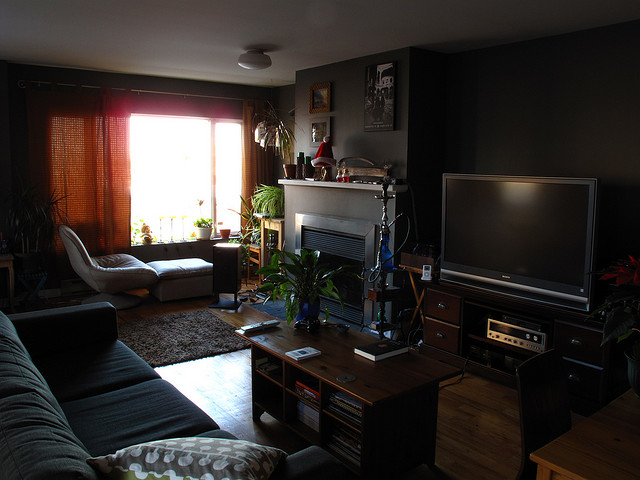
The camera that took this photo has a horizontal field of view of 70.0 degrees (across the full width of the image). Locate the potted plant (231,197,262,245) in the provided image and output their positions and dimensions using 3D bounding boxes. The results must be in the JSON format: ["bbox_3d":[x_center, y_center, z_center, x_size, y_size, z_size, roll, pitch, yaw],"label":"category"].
[{"bbox_3d":[-1.087,-0.261,6.899,0.327,0.639,1.088,-3,12,-18],"label":"potted plant"}]

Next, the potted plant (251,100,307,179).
[{"bbox_3d":[-0.472,-1.178,5.766,0.528,0.845,0.622,-10,13,4],"label":"potted plant"}]

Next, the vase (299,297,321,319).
[{"bbox_3d":[-0.076,0.510,3.398,0.134,0.114,0.153,1,-1,-7],"label":"vase"}]

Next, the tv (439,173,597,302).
[{"bbox_3d":[1.608,-0.037,3.837,0.134,1.003,1.334,-7,11,-37],"label":"tv"}]

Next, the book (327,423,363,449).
[{"bbox_3d":[0.146,1.156,2.700,0.028,0.060,0.264,-10,15,-41],"label":"book"}]

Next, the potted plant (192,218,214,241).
[{"bbox_3d":[-1.769,-0.168,7.036,0.314,0.311,0.244,-6,13,-28],"label":"potted plant"}]

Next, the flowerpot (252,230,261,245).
[{"bbox_3d":[-0.933,-0.039,6.766,0.152,0.196,0.057,15,16,37],"label":"flowerpot"}]

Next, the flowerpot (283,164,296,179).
[{"bbox_3d":[-0.362,-0.859,5.775,0.152,0.117,0.152,0,2,-3],"label":"flowerpot"}]

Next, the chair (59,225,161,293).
[{"bbox_3d":[-2.588,0.292,5.681,1.045,0.862,0.889,-4,13,-33],"label":"chair"}]

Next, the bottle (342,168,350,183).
[{"bbox_3d":[0.286,-0.697,4.954,0.077,0.140,0.149,1,11,1],"label":"bottle"}]

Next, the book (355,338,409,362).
[{"bbox_3d":[0.408,0.712,2.964,0.196,0.026,0.136,-8,11,-35],"label":"book"}]

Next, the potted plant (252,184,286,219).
[{"bbox_3d":[-0.769,-0.537,6.574,0.508,0.263,0.516,12,11,24],"label":"potted plant"}]

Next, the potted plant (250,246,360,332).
[{"bbox_3d":[-0.094,0.383,3.520,0.567,0.430,0.587,-2,9,-6],"label":"potted plant"}]

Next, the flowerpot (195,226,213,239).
[{"bbox_3d":[-1.768,-0.100,7.002,0.196,0.121,0.181,4,13,5],"label":"flowerpot"}]

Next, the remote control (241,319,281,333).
[{"bbox_3d":[-0.425,0.652,3.415,0.328,0.066,0.100,-3,8,-32],"label":"remote control"}]

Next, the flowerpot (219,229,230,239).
[{"bbox_3d":[-1.478,-0.081,7.127,0.139,0.128,0.139,-1,4,-5],"label":"flowerpot"}]
